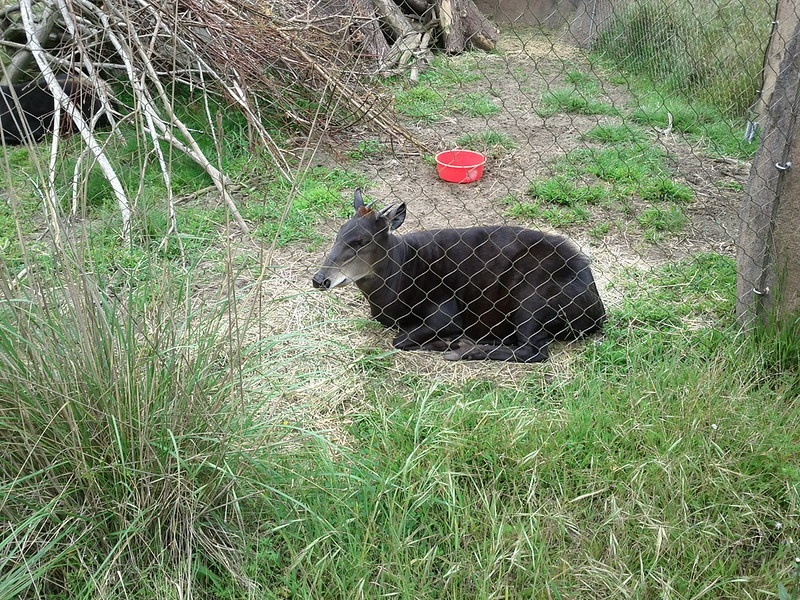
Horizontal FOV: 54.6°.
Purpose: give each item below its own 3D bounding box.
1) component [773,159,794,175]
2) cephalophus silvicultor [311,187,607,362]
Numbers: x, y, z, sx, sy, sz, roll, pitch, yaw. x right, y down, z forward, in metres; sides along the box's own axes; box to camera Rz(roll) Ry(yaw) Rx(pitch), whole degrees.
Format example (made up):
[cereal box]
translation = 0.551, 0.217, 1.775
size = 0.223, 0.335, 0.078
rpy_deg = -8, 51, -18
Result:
[component]
translation = 2.353, -0.809, 4.705
size = 0.029, 0.057, 0.073
rpy_deg = 7, 17, -40
[cephalophus silvicultor]
translation = 0.555, -0.253, 5.732
size = 2.233, 1.303, 0.963
rpy_deg = -1, 11, 7
